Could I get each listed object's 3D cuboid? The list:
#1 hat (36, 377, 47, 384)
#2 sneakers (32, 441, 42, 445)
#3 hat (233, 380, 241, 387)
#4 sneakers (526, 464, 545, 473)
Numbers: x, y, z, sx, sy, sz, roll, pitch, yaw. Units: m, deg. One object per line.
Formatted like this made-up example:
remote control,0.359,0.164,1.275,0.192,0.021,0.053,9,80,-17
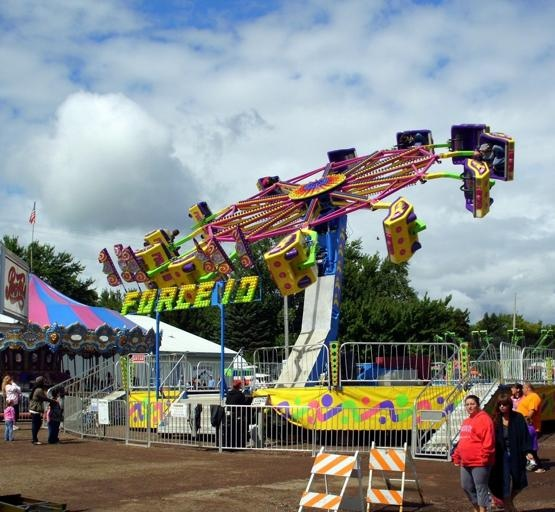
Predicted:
hat,-6.241,3.298,22.129,0.278,0.171,0.270,6,-9,-42
sneakers,-6.161,4.798,21.392,0.213,0.091,0.074,-14,-9,26
hat,-0.972,3.040,19.854,0.151,0.127,0.168,0,-11,-2
sneakers,4.936,4.061,15.930,0.361,0.166,0.132,12,-14,-12
